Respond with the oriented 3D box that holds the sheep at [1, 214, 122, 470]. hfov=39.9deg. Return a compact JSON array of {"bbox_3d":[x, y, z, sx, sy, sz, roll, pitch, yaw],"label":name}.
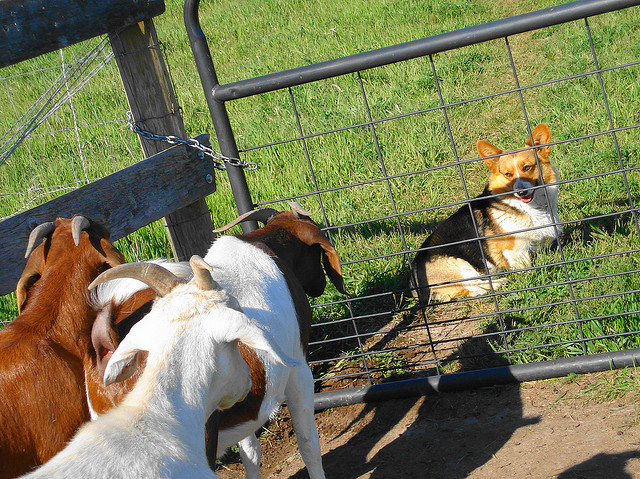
[{"bbox_3d":[-1.515,0.639,5.204,0.458,1.384,0.937,1,-24,6],"label":"sheep"}]
